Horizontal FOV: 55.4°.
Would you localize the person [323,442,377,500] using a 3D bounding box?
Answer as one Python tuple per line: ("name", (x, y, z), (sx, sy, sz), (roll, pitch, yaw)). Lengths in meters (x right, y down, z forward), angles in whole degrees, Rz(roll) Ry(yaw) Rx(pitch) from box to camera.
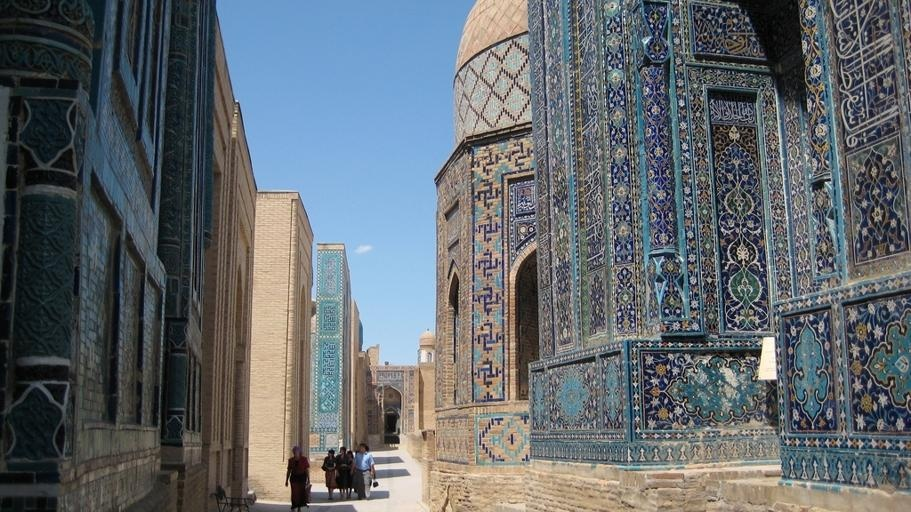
("person", (-2.198, 4.421, 17.842), (0.858, 1.124, 1.569), (2, -17, -19))
